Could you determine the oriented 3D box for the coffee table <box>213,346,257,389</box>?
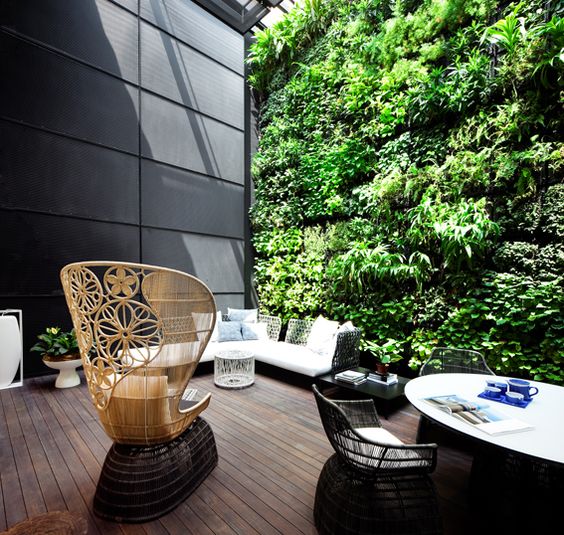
[{"bbox_3d":[-0.550,1.111,4.140,0.395,0.402,0.404,0,0,-41],"label":"coffee table"}]

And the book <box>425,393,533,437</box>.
[{"bbox_3d":[1.030,0.727,1.885,0.361,0.070,0.424,0,0,-25],"label":"book"}]

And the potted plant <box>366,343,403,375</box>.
[{"bbox_3d":[1.042,0.966,3.751,0.247,0.237,0.260,25,-4,33],"label":"potted plant"}]

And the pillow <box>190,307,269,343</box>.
[{"bbox_3d":[-0.597,0.865,5.061,0.782,0.772,0.516,0,0,5],"label":"pillow"}]

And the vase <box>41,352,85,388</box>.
[{"bbox_3d":[-2.357,1.107,3.919,0.352,0.301,0.345,2,-7,-25],"label":"vase"}]

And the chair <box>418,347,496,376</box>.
[{"bbox_3d":[1.341,0.751,2.824,0.492,0.207,0.207,2,3,21],"label":"chair"}]
